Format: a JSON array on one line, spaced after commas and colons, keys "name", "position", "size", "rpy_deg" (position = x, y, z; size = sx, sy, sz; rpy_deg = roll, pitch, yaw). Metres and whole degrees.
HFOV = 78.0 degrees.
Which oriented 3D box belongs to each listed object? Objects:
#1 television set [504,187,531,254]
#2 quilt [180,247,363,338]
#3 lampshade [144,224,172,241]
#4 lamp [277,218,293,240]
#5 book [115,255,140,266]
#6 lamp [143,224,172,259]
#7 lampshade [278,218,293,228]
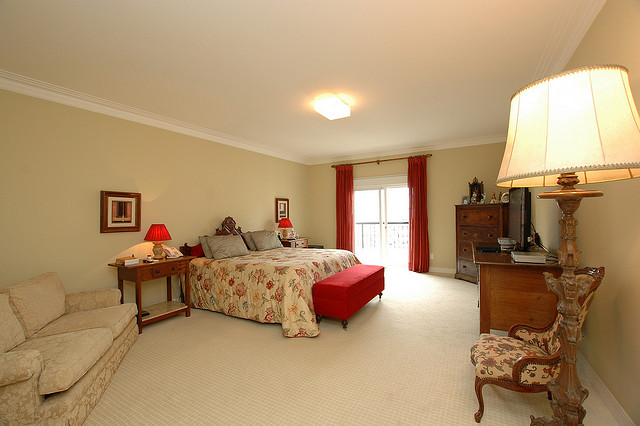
[{"name": "television set", "position": [2.672, 0.092, 5.328], "size": [0.230, 0.885, 1.018], "rpy_deg": [-1, 2, 17]}, {"name": "quilt", "position": [-0.810, 1.067, 5.875], "size": [1.436, 0.599, 1.466], "rpy_deg": [-1, -1, 22]}, {"name": "lampshade", "position": [-2.369, 0.259, 5.793], "size": [0.261, 0.161, 0.259], "rpy_deg": [-1, 2, -30]}, {"name": "lamp", "position": [-0.719, 0.336, 8.302], "size": [0.390, 0.565, 0.385], "rpy_deg": [1, 1, 10]}, {"name": "book", "position": [-2.681, 0.678, 5.563], "size": [0.362, 0.129, 0.233], "rpy_deg": [-3, -1, 31]}, {"name": "lamp", "position": [-2.423, 0.425, 5.930], "size": [0.391, 0.545, 0.380], "rpy_deg": [0, 2, -36]}, {"name": "lampshade", "position": [-0.706, 0.198, 8.330], "size": [0.193, 0.191, 0.197], "rpy_deg": [2, 7, 16]}]
